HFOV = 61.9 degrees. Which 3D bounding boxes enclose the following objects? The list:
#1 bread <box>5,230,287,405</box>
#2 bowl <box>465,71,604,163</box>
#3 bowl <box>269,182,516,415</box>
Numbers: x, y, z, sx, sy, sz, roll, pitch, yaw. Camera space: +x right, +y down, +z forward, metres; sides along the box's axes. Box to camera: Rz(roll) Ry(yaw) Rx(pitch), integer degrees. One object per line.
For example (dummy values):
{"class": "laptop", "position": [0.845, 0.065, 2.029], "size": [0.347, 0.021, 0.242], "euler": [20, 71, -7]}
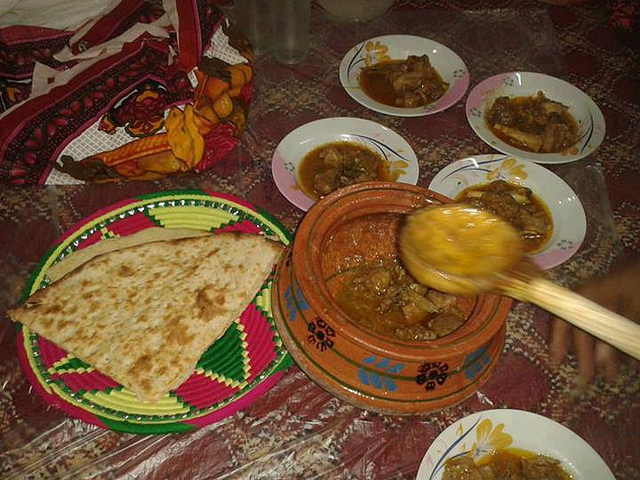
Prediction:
{"class": "bread", "position": [-0.631, 0.136, 1.956], "size": [0.731, 0.216, 0.731], "euler": [31, 78, 5]}
{"class": "bowl", "position": [1.019, -0.563, 2.672], "size": [0.625, 0.639, 0.135], "euler": [25, 93, -13]}
{"class": "bowl", "position": [0.196, 0.200, 1.733], "size": [0.678, 0.387, 0.759], "euler": [-21, 78, -7]}
